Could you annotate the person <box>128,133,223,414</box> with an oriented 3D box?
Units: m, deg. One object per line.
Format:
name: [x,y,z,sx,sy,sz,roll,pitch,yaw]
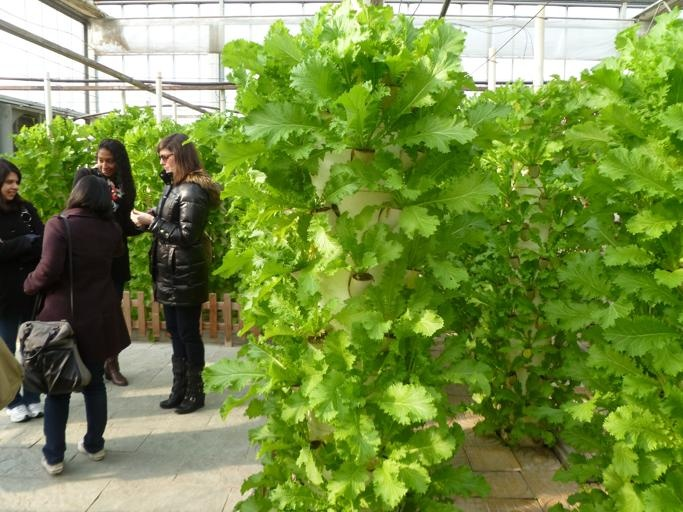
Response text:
person: [-1.492,0.173,5.061,0.688,2.619,0.620,-6,14,-20]

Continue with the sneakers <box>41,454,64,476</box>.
sneakers: [-2.257,1.620,4.192,0.102,0.086,0.199,-12,32,-39]

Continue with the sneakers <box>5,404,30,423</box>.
sneakers: [-2.982,1.460,4.925,0.260,0.107,0.098,3,2,27]

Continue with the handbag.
handbag: [-2.211,0.754,4.033,0.632,0.558,0.339,1,8,26]

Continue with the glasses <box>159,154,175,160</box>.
glasses: [-1.596,-0.909,4.871,0.097,0.029,0.093,8,5,-29]

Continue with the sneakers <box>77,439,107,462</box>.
sneakers: [-2.030,1.602,4.367,0.290,0.125,0.116,30,28,34]
